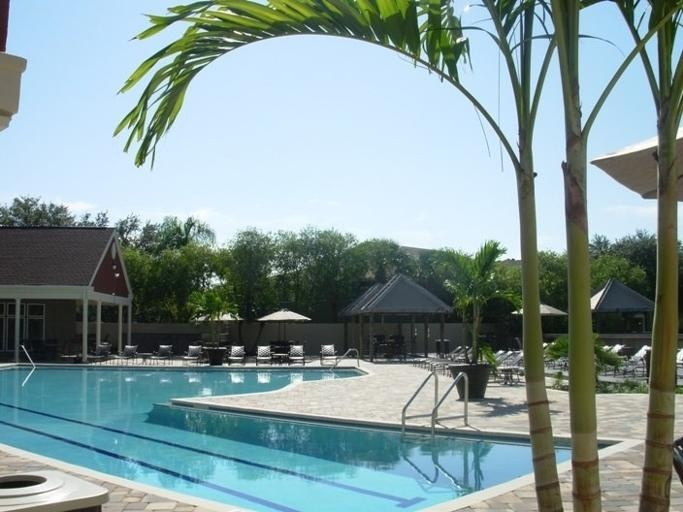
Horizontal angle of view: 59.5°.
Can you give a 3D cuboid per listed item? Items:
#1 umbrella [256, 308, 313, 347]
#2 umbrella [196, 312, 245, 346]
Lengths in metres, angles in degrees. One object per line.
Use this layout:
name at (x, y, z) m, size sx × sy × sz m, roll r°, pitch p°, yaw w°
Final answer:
umbrella at (-3.218, 4.015, 32.643) m, size 1.831 × 1.476 × 1.808 m, roll 6°, pitch -10°, yaw -45°
umbrella at (-6.498, 3.688, 31.397) m, size 2.004 × 1.672 × 2.219 m, roll 1°, pitch -6°, yaw -12°
